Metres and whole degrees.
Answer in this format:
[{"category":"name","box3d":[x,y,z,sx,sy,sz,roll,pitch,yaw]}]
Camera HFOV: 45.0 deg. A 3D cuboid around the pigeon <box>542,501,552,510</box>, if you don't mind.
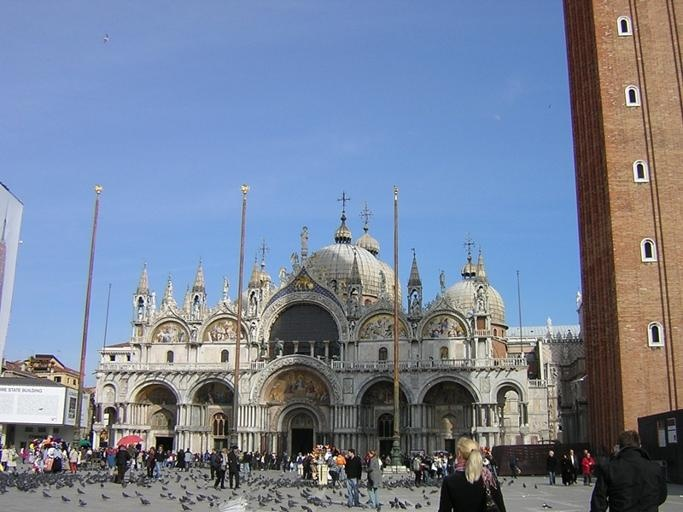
[{"category":"pigeon","box3d":[8.034,9.656,32.027,0.320,0.168,0.233,11,-6,-41]}]
